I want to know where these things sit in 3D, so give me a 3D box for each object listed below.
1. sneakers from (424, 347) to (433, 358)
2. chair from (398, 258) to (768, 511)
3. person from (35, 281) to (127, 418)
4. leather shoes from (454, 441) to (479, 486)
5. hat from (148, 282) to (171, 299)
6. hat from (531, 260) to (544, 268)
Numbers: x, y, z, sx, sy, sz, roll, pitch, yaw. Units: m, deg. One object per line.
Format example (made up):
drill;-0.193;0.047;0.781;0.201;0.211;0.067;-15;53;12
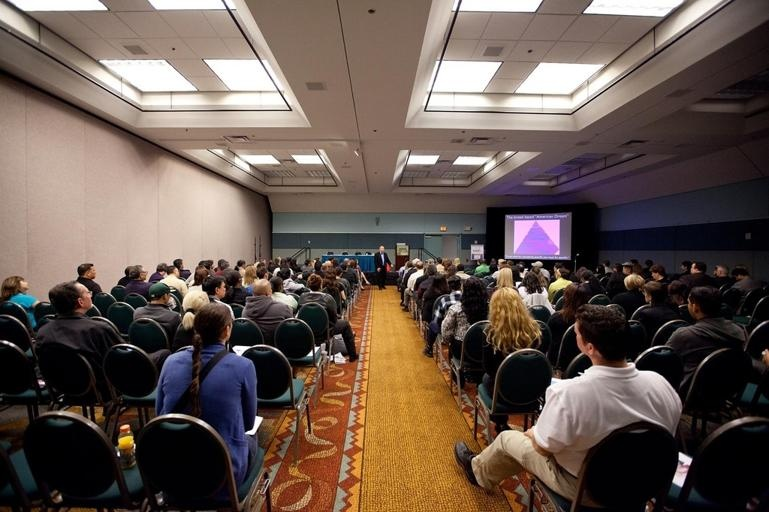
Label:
sneakers;0.797;1.799;9.058;0.077;0.167;0.234;-1;8;-25
chair;2.097;1.582;6.264;1.598;2.222;2.675;-6;5;-15
person;-3.940;1.128;6.306;0.977;1.820;0.313;3;0;-9
leather shoes;0.998;2.609;6.203;0.178;0.220;0.540;1;28;-13
hat;-3.339;0.454;7.242;0.223;0.172;0.316;-2;32;1
hat;4.414;0.238;14.149;0.200;0.113;0.304;-17;12;-13
